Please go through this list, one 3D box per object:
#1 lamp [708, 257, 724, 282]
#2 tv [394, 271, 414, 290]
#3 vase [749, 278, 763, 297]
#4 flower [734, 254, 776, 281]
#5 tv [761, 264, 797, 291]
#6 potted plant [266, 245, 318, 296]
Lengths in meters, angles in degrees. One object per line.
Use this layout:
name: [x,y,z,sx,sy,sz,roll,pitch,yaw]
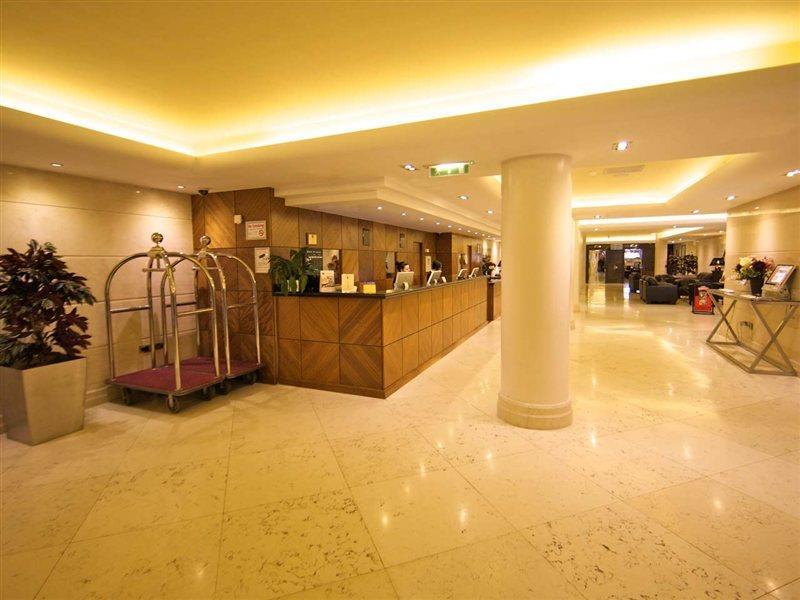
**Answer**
lamp: [8.726,-0.835,14.200,0.283,0.689,1.807,2,8,30]
tv: [0.049,-0.297,7.968,0.158,0.285,0.438,10,12,37]
vase: [5.519,-0.210,7.975,0.170,0.241,0.166,3,9,31]
flower: [5.572,-0.500,8.113,0.458,0.298,0.434,-1,1,14]
tv: [5.543,-0.330,7.540,0.126,0.353,0.520,21,22,10]
potted plant: [-1.460,-0.392,7.258,0.706,0.470,0.677,1,0,3]
